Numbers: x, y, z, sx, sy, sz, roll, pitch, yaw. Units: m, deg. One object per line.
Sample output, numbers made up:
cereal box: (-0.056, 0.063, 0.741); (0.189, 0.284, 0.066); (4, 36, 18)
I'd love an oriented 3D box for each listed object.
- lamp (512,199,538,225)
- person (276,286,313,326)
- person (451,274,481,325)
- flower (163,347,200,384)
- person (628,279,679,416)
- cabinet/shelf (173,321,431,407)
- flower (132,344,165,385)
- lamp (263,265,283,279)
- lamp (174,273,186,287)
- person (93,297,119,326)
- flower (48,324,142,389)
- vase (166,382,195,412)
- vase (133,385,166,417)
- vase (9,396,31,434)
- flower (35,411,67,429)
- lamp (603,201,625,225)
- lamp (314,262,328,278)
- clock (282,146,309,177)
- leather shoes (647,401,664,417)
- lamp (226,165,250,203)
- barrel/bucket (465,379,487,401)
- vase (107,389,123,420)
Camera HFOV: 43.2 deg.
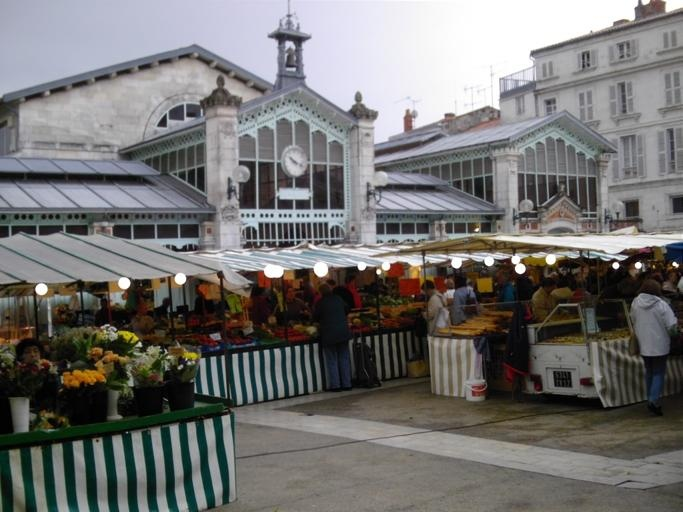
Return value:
lamp: (7.076, -1.618, 33.076); (0.685, 0.698, 1.204); (3, -8, 1)
person: (-1.041, 1.131, 18.709); (0.810, 1.225, 0.440); (-2, -14, -22)
person: (2.611, 0.945, 18.073); (0.695, 1.436, 0.464); (4, -4, -25)
flower: (-2.016, 1.373, 10.675); (0.436, 0.463, 0.409); (7, -13, -26)
person: (5.131, 1.463, 13.986); (0.567, 2.080, 0.879); (0, 10, -3)
cabinet/shelf: (-0.642, 2.212, 17.058); (5.029, 1.234, 0.456); (-7, 12, -35)
flower: (-2.340, 1.344, 10.514); (0.390, 0.236, 0.381); (9, 1, 1)
lamp: (-1.288, 0.315, 16.303); (0.333, 0.326, 0.694); (-1, 11, -6)
lamp: (-2.679, 0.387, 14.290); (0.300, 0.068, 0.292); (4, -47, -15)
person: (-5.590, 1.346, 20.363); (0.301, 0.398, 0.839); (0, 16, 3)
flower: (-2.996, 1.242, 10.685); (0.801, 0.765, 0.901); (1, -39, 6)
vase: (-1.990, 1.731, 10.536); (0.339, 0.258, 0.349); (-1, -7, -7)
vase: (-2.313, 1.744, 10.344); (0.340, 0.274, 0.361); (-1, -8, 3)
vase: (-3.683, 1.816, 9.837); (0.219, 0.386, 0.141); (-3, 11, -20)
flower: (-3.359, 1.898, 9.902); (0.375, 0.175, 0.178); (-3, 11, -15)
lamp: (12.367, -1.891, 38.881); (0.752, 1.314, 1.326); (3, -3, 6)
lamp: (-0.408, 0.295, 17.066); (0.288, 0.313, 0.538); (0, 10, -4)
clock: (-1.437, -2.927, 26.850); (1.045, 0.976, 0.235); (-9, 13, -40)
leather shoes: (5.079, 2.451, 13.861); (0.240, 0.233, 0.278); (4, 11, 20)
lamp: (-3.007, -2.153, 25.445); (0.695, 1.047, 0.875); (1, 10, 7)
barrel/bucket: (2.414, 2.410, 15.429); (0.358, 0.319, 0.374); (-1, -4, 0)
vase: (-2.711, 1.775, 10.196); (0.295, 0.311, 0.290); (1, -6, -16)
